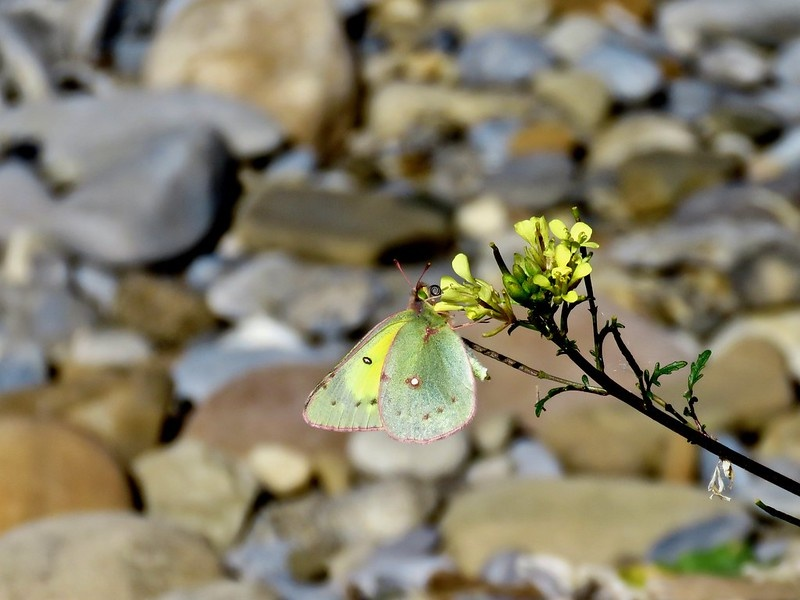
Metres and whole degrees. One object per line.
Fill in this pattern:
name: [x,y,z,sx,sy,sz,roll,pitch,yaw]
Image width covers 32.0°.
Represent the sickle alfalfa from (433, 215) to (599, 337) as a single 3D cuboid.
sickle alfalfa: [0.133,-0.017,1.599,0.191,0.171,0.113,-29,83,-1]
